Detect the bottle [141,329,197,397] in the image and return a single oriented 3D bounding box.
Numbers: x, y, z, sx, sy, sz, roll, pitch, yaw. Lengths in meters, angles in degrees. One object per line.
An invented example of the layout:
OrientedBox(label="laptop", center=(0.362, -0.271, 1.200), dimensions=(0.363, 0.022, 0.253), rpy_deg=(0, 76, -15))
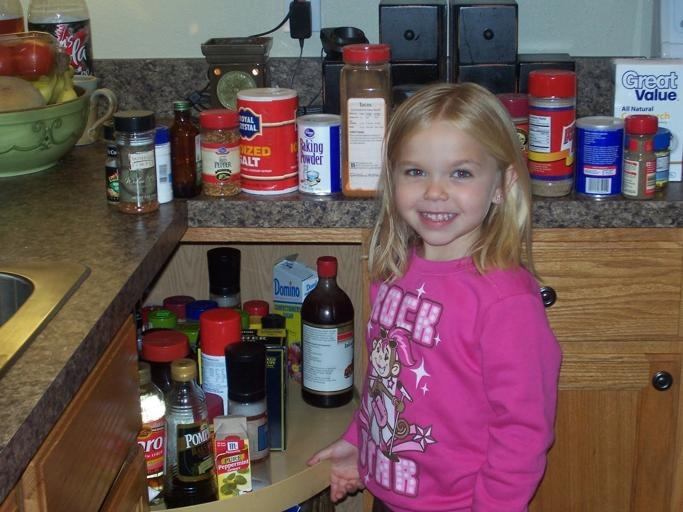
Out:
OrientedBox(label="bottle", center=(-0.318, 0.206, 1.251), dimensions=(0.118, 0.118, 0.120), rpy_deg=(0, 12, -3))

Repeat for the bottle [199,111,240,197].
OrientedBox(label="bottle", center=(-0.256, -0.214, 1.303), dimensions=(0.085, 0.171, 0.093), rpy_deg=(-2, 17, 1))

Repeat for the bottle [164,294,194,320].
OrientedBox(label="bottle", center=(-0.403, 0.120, 1.541), dimensions=(0.063, 0.034, 0.059), rpy_deg=(2, 15, -1))

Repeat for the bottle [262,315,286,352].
OrientedBox(label="bottle", center=(-0.142, 0.165, 1.312), dimensions=(0.048, 0.079, 0.049), rpy_deg=(-1, 16, 0))

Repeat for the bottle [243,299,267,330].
OrientedBox(label="bottle", center=(-0.190, 0.136, 1.424), dimensions=(0.057, 0.048, 0.054), rpy_deg=(0, 11, 3))

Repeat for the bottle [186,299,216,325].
OrientedBox(label="bottle", center=(-0.331, 0.125, 1.455), dimensions=(0.060, 0.031, 0.056), rpy_deg=(1, 13, 0))

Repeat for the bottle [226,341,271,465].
OrientedBox(label="bottle", center=(-0.177, 0.283, 1.193), dimensions=(0.079, 0.223, 0.133), rpy_deg=(-5, 17, -9))

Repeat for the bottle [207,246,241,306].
OrientedBox(label="bottle", center=(-0.294, 0.051, 1.583), dimensions=(0.082, 0.148, 0.119), rpy_deg=(-7, 17, -13))

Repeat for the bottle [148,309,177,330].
OrientedBox(label="bottle", center=(-0.392, 0.139, 1.363), dimensions=(0.049, 0.026, 0.046), rpy_deg=(2, 8, 0))

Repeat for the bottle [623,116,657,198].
OrientedBox(label="bottle", center=(0.593, -0.198, 1.246), dimensions=(0.065, 0.158, 0.091), rpy_deg=(5, 19, 23))

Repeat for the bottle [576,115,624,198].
OrientedBox(label="bottle", center=(0.522, -0.202, 1.270), dimensions=(0.097, 0.152, 0.095), rpy_deg=(-2, 17, 1))

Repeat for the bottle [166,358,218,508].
OrientedBox(label="bottle", center=(-0.276, 0.334, 1.108), dimensions=(0.093, 0.217, 0.106), rpy_deg=(-7, 18, -14))

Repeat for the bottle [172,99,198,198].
OrientedBox(label="bottle", center=(-0.325, -0.222, 1.302), dimensions=(0.064, 0.190, 0.115), rpy_deg=(-6, 18, -12))

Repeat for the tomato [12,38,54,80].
OrientedBox(label="tomato", center=(-0.697, -0.445, 1.441), dimensions=(0.098, 0.082, 0.065), rpy_deg=(6, 1, -5))

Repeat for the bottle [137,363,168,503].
OrientedBox(label="bottle", center=(-0.340, 0.334, 1.138), dimensions=(0.046, 0.200, 0.092), rpy_deg=(-5, 17, -7))
